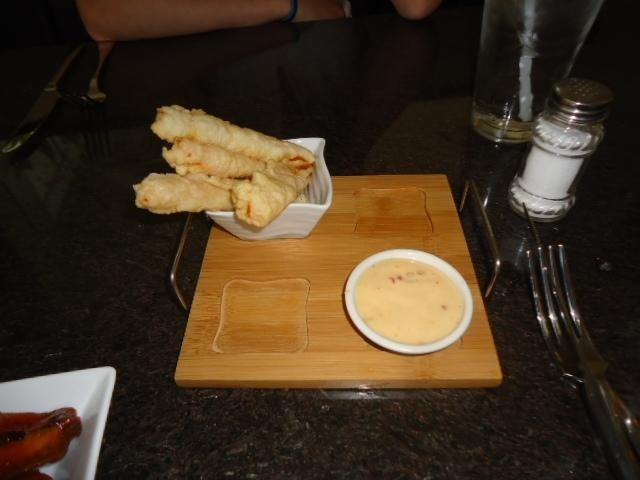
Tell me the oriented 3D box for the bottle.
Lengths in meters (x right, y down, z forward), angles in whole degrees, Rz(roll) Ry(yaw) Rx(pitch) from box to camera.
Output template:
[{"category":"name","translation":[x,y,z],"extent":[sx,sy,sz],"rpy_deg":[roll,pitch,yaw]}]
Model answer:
[{"category":"bottle","translation":[0.802,-0.292,1.687],"extent":[0.219,0.384,0.350],"rpy_deg":[24,57,21]}]
